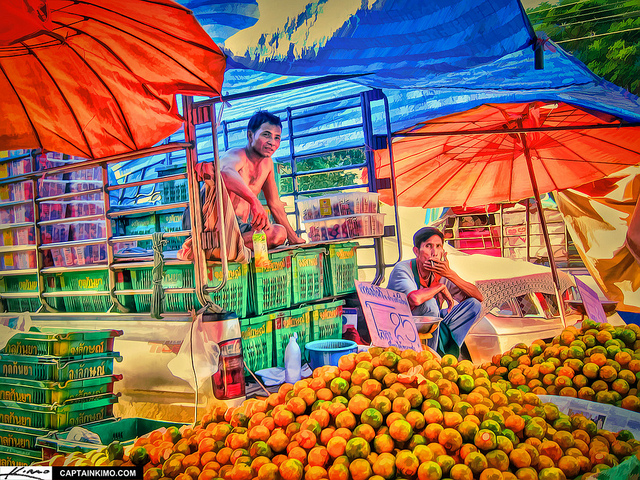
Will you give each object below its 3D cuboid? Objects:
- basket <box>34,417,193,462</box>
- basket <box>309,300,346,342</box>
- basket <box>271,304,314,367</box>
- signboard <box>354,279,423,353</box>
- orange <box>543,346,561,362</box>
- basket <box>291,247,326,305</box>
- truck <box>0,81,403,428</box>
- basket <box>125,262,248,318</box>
[{"bbox_3d":[-1.223,1.150,3.277,0.475,0.228,0.677,-3,-6,30],"label":"basket"},{"bbox_3d":[0.118,0.739,4.799,0.331,0.378,0.298,-12,-32,21],"label":"basket"},{"bbox_3d":[-0.237,0.759,4.535,0.364,0.531,0.444,-10,-12,39],"label":"basket"},{"bbox_3d":[0.431,0.482,3.544,0.010,0.408,0.546,-16,11,-30],"label":"signboard"},{"bbox_3d":[1.291,0.626,3.162,0.067,0.082,0.066,37,-36,-16],"label":"orange"},{"bbox_3d":[-0.096,0.283,4.607,0.120,0.436,0.421,-11,-8,36],"label":"basket"},{"bbox_3d":[-1.174,-0.029,5.322,3.597,2.476,2.435,-3,-6,31],"label":"truck"},{"bbox_3d":[-0.941,0.339,4.124,0.650,0.324,0.446,-2,-13,10],"label":"basket"}]
